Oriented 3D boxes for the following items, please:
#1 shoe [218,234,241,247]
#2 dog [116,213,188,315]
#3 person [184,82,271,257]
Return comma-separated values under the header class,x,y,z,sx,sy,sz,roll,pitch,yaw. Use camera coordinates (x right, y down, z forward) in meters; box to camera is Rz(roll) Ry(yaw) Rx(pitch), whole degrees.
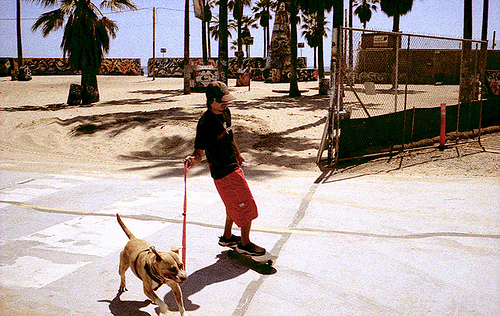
class,x,y,z,sx,sy,sz,roll,pitch,yaw
shoe,-0.347,1.365,6.589,0.399,0.175,0.159,-9,9,-4
dog,-1.552,1.397,5.331,0.520,0.935,1.586,-15,24,-41
person,-0.338,0.157,6.333,1.158,2.710,1.017,-1,13,0
